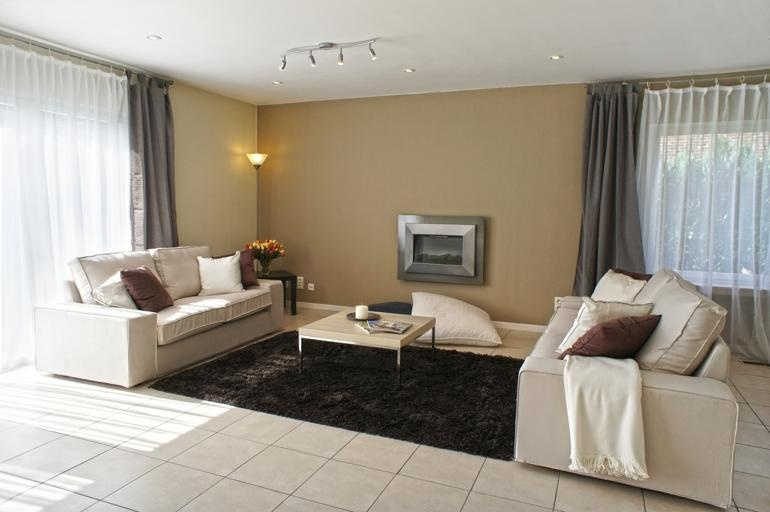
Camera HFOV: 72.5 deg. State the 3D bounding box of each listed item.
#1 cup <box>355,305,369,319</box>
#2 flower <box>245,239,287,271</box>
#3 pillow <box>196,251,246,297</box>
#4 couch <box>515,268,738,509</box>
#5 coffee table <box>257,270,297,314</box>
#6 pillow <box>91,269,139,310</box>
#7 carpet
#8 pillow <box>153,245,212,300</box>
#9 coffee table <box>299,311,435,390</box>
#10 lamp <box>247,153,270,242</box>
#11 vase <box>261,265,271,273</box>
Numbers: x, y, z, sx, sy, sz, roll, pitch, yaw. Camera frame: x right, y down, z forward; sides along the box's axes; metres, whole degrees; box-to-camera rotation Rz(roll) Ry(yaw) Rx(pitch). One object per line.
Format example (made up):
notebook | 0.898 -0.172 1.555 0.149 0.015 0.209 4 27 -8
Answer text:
cup | -0.239 0.574 5.357 0.134 0.118 0.133 0 3 0
flower | -1.655 -0.038 7.398 0.503 0.435 0.501 -1 -3 4
pillow | -1.959 0.233 6.214 0.492 0.466 0.175 -3 -21 -20
couch | 1.829 1.125 3.845 1.067 0.805 1.877 7 13 24
coffee table | -1.473 0.509 7.509 0.589 0.561 0.585 0 0 1
pillow | -2.692 0.346 5.184 0.376 0.369 0.235 4 12 30
carpet | -0.231 1.244 5.121 3.020 0.290 1.625 1 10 18
pillow | -2.327 0.214 5.974 0.204 0.388 0.560 -5 3 26
coffee table | -0.196 0.796 5.088 0.842 0.324 0.845 2 6 22
lamp | -1.855 -0.903 7.849 0.289 1.300 0.369 0 11 12
vase | -1.687 0.180 7.333 0.109 0.117 0.110 1 -4 8
